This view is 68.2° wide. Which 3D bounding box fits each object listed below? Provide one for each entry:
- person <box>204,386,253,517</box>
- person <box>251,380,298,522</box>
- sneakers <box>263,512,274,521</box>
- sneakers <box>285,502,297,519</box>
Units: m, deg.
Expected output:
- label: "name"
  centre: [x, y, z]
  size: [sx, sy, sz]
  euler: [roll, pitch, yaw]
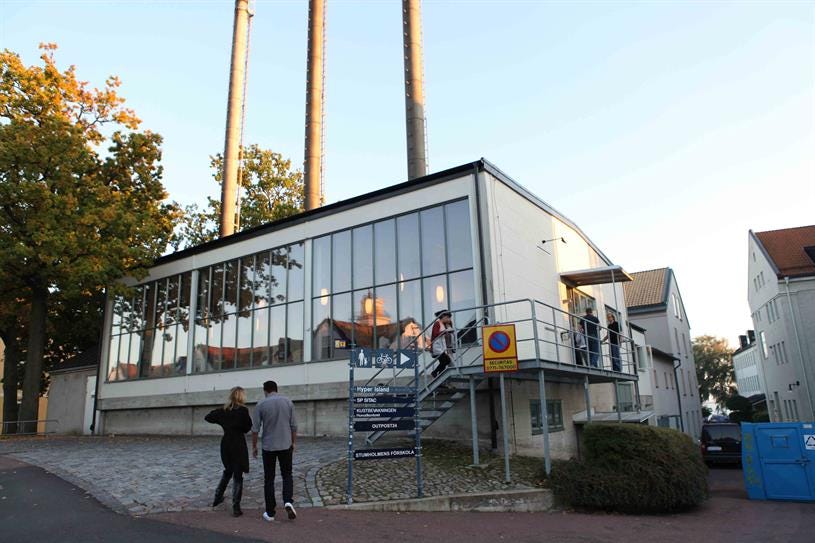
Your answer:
- label: "person"
  centre: [-4.372, 4.378, 14.931]
  size: [0.956, 2.993, 1.175]
  euler: [4, -17, -15]
- label: "person"
  centre: [-3.237, 4.322, 14.835]
  size: [1.109, 3.233, 0.944]
  euler: [3, -17, -11]
- label: "sneakers"
  centre: [-3.298, 5.784, 14.353]
  size: [0.122, 0.140, 0.327]
  euler: [7, -6, -39]
- label: "sneakers"
  centre: [-2.760, 5.620, 14.272]
  size: [0.265, 0.370, 0.280]
  euler: [2, -17, -6]
